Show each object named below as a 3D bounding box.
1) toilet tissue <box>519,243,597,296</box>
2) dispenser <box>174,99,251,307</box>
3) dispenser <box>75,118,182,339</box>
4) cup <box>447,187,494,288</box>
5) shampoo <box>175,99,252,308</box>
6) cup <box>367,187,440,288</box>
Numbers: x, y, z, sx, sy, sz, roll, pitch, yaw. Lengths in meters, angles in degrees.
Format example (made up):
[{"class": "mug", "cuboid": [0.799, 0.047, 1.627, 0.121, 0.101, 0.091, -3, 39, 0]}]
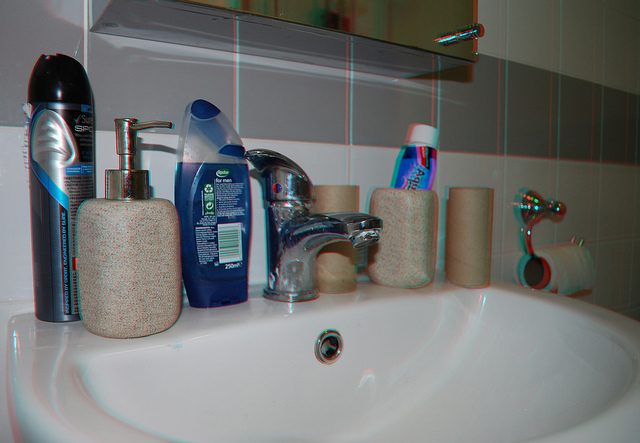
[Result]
[{"class": "toilet tissue", "cuboid": [0.595, 0.119, 1.199, 0.195, 0.141, 0.147, -4, 2, -23]}, {"class": "dispenser", "cuboid": [-0.177, -0.021, 0.816, 0.117, 0.326, 0.102, -1, 1, -29]}, {"class": "dispenser", "cuboid": [-0.229, 0.003, 0.714, 0.203, 0.252, 0.257, -1, 3, -22]}, {"class": "cup", "cuboid": [0.301, 0.030, 0.893, 0.057, 0.138, 0.076, 3, 2, 25]}, {"class": "shampoo", "cuboid": [-0.159, -0.031, 0.801, 0.111, 0.312, 0.125, -3, 12, -27]}, {"class": "cup", "cuboid": [0.148, 0.027, 0.897, 0.099, 0.184, 0.104, 1, 6, 0]}]
